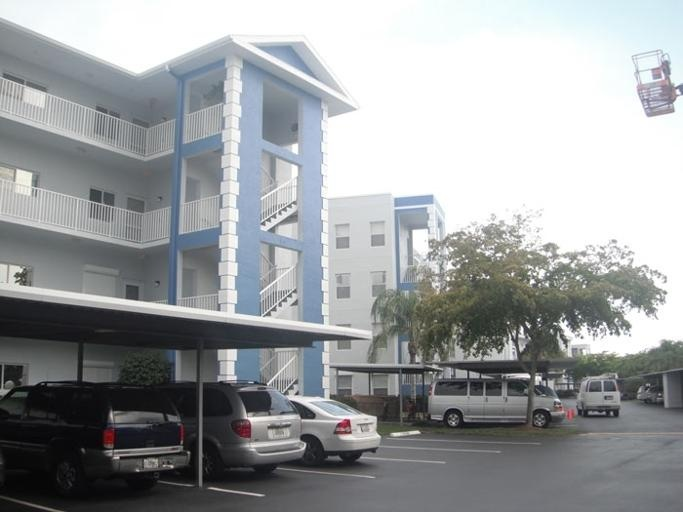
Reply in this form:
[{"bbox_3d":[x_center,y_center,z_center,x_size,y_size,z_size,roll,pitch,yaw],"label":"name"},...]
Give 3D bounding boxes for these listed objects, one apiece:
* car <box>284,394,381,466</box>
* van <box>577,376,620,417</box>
[{"bbox_3d":[-0.381,4.663,17.213,2.734,1.094,1.320,-3,-11,35],"label":"car"},{"bbox_3d":[16.425,9.077,41.263,2.134,2.514,4.106,1,-8,3],"label":"van"}]
